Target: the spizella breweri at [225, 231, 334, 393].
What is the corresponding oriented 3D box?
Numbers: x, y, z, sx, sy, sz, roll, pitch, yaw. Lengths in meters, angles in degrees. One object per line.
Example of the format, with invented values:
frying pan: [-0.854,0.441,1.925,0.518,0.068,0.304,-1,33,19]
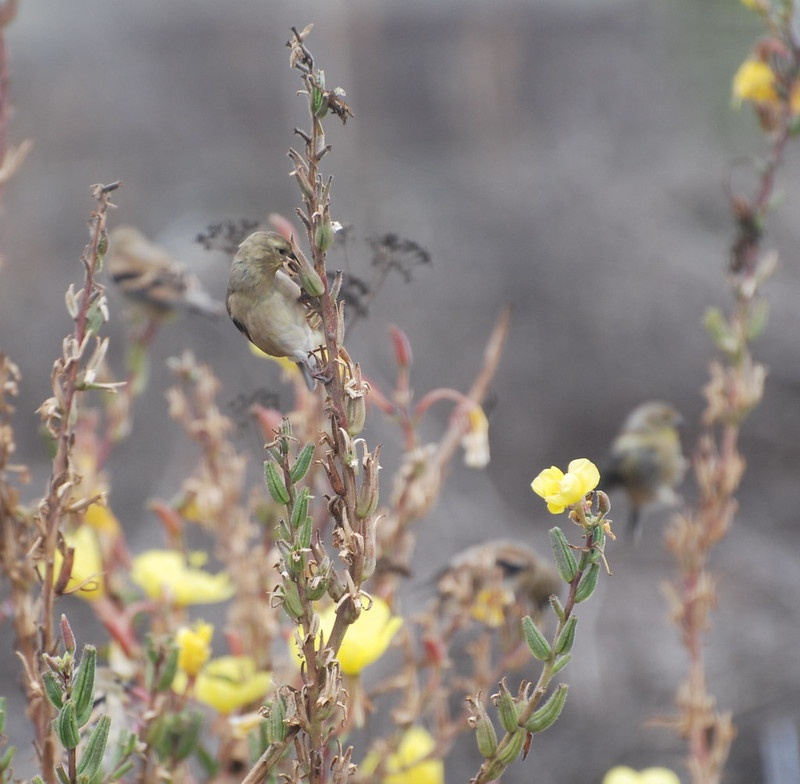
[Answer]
spizella breweri: [-0.070,-0.052,0.808,0.057,0.069,0.043,12,-22,-10]
